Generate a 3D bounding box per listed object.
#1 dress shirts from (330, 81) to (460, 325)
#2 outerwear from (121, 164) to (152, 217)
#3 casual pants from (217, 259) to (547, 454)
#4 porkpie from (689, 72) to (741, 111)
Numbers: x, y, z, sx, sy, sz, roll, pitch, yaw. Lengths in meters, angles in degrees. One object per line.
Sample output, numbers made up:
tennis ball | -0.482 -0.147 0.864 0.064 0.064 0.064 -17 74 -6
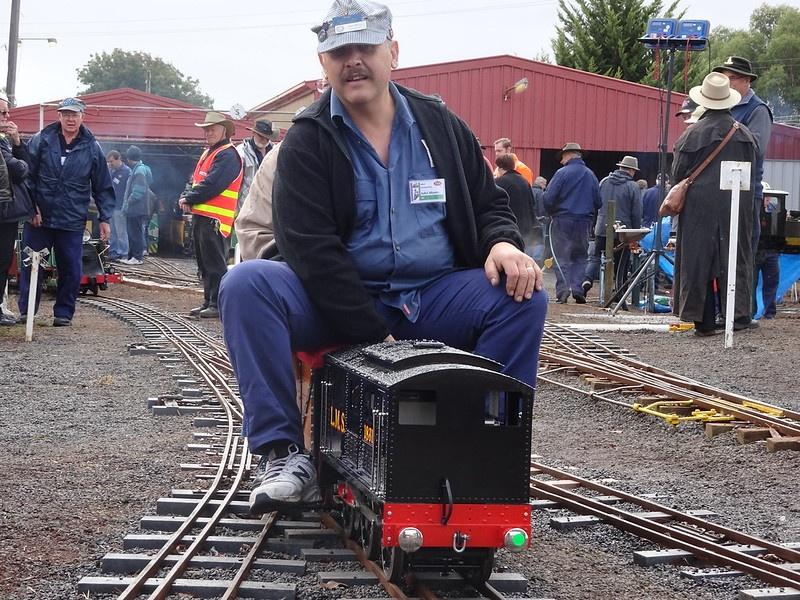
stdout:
dress shirts | -0.037 -0.494 4.823 0.688 1.283 0.447 -5 -7 -11
outerwear | -7.104 -2.933 22.659 0.812 1.586 1.384 4 5 -4
casual pants | -0.358 0.363 4.772 1.045 0.729 1.392 4 -40 -4
porkpie | 3.878 -2.683 10.354 0.510 0.217 0.554 0 40 5
